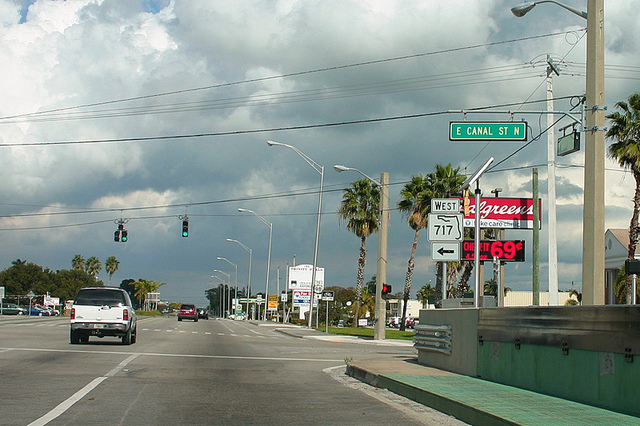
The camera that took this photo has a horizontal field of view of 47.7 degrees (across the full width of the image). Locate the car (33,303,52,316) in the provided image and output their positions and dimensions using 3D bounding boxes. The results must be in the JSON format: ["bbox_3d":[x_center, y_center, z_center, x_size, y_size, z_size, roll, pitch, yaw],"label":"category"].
[{"bbox_3d":[-40.192,13.951,104.785,2.330,1.399,6.620,3,-10,-15],"label":"car"}]

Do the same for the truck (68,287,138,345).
[{"bbox_3d":[-8.750,3.992,30.027,1.766,1.404,3.112,1,0,-3],"label":"truck"}]

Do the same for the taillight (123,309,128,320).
[{"bbox_3d":[-7.727,3.989,28.832,0.061,0.420,0.205,-5,-10,32],"label":"taillight"}]

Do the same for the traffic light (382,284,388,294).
[{"bbox_3d":[3.772,4.235,41.220,0.231,0.555,0.675,1,-9,-8],"label":"traffic light"}]

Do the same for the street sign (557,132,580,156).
[{"bbox_3d":[8.275,-2.249,23.831,0.409,0.669,1.094,0,-10,1],"label":"street sign"}]

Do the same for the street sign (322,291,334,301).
[{"bbox_3d":[0.796,5.929,53.440,0.967,0.839,0.918,2,-15,-6],"label":"street sign"}]

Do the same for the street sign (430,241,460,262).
[{"bbox_3d":[4.385,1.272,25.014,0.928,0.668,0.120,1,-8,-3],"label":"street sign"}]

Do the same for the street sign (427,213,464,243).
[{"bbox_3d":[4.452,0.498,25.332,1.019,0.769,0.068,1,-3,6],"label":"street sign"}]

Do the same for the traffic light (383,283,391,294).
[{"bbox_3d":[3.867,4.194,41.066,0.369,0.606,1.095,1,-10,-3],"label":"traffic light"}]

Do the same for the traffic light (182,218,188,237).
[{"bbox_3d":[-9.573,1.049,51.528,0.194,1.025,0.301,-1,-8,7],"label":"traffic light"}]

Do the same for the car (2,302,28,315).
[{"bbox_3d":[-40.595,12.590,95.845,3.158,1.481,1.669,0,-2,-8],"label":"car"}]

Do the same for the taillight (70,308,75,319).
[{"bbox_3d":[-9.741,3.918,28.579,0.128,0.382,0.606,3,-10,-19],"label":"taillight"}]
